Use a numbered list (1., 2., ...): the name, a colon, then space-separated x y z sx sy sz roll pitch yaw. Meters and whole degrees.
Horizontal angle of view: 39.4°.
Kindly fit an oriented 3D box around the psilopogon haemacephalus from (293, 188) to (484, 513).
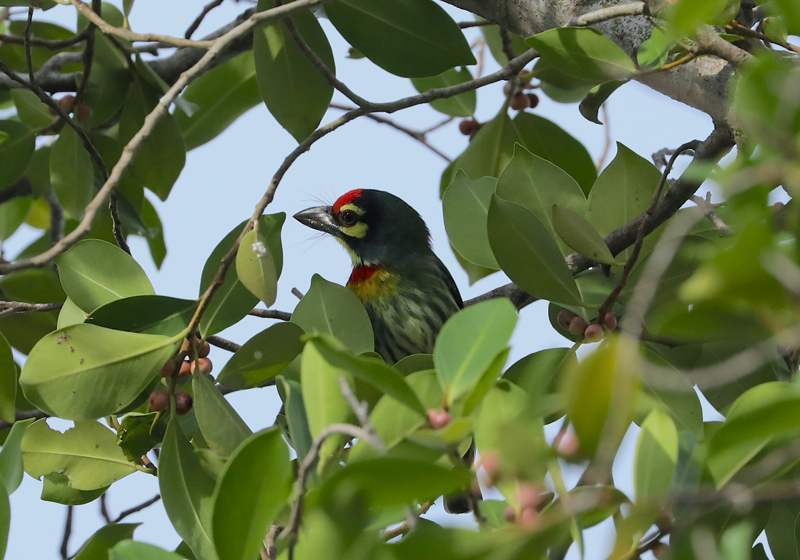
1. psilopogon haemacephalus: -0.046 0.177 4.298 0.621 0.692 1.158 -6 -79 -22
